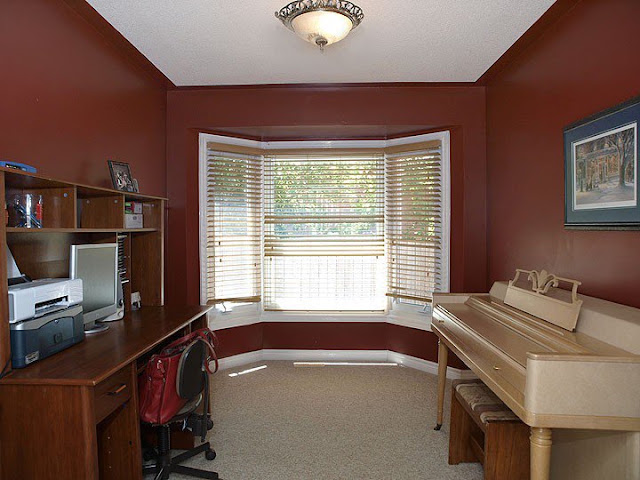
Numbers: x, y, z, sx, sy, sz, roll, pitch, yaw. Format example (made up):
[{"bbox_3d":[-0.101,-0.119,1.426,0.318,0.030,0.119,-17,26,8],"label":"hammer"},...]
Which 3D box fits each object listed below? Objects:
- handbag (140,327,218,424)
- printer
[{"bbox_3d":[-0.940,0.870,3.056,0.374,0.505,0.727,10,-4,7],"label":"handbag"},{"bbox_3d":[-1.669,0.152,2.796,0.330,0.539,0.534,-2,3,-6],"label":"printer"}]
